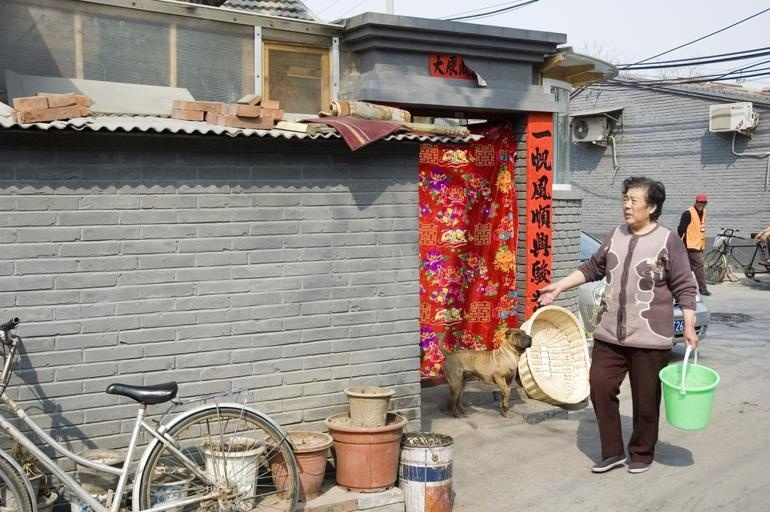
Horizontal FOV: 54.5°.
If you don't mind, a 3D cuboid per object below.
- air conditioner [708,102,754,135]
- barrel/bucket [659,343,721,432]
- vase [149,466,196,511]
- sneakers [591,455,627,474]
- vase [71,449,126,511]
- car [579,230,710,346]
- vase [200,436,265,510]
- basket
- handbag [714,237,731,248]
[{"bbox_3d":[9.505,-3.775,20.475,0.541,0.818,1.204,-10,12,-39],"label":"air conditioner"},{"bbox_3d":[2.933,1.270,7.215,0.514,0.742,0.440,-1,10,7],"label":"barrel/bucket"},{"bbox_3d":[-1.824,1.974,6.385,0.395,0.257,0.375,5,6,33],"label":"vase"},{"bbox_3d":[2.279,2.114,7.636,0.466,0.156,0.146,-6,-5,-21],"label":"sneakers"},{"bbox_3d":[-2.431,1.882,6.383,0.496,0.428,0.465,1,7,-29],"label":"vase"},{"bbox_3d":[3.755,0.493,11.400,1.655,1.328,2.873,3,-4,-43],"label":"car"},{"bbox_3d":[-1.278,1.917,6.633,0.695,0.567,0.658,1,-2,1],"label":"vase"},{"bbox_3d":[2.062,1.228,9.056,1.041,1.196,0.470,8,-20,-19],"label":"basket"},{"bbox_3d":[8.719,-0.356,19.334,0.410,0.271,0.312,8,5,1],"label":"handbag"}]
